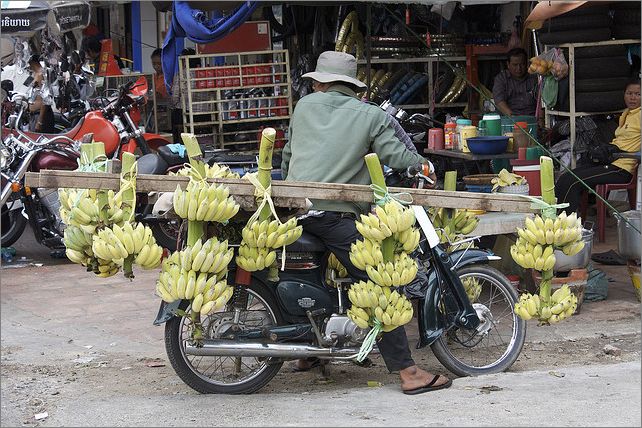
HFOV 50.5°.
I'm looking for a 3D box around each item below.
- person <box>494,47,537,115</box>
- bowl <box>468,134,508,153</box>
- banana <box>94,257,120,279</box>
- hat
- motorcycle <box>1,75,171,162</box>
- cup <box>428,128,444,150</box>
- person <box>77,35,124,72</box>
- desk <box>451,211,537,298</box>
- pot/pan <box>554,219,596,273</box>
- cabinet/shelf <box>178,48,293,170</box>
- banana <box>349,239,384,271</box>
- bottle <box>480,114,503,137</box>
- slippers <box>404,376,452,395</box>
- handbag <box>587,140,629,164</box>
[{"bbox_3d":[3.021,-2.084,10.633,0.663,1.018,0.615,2,12,12],"label":"person"},{"bbox_3d":[1.947,-0.811,7.946,0.481,0.207,0.284,0,12,2],"label":"bowl"},{"bbox_3d":[-1.600,0.396,5.078,0.162,0.127,0.074,-8,26,-27],"label":"banana"},{"bbox_3d":[0.114,-1.179,5.577,0.357,0.201,0.360,-1,5,8],"label":"hat"},{"bbox_3d":[-3.253,-1.206,9.448,1.879,1.298,1.303,0,-2,-13],"label":"motorcycle"},{"bbox_3d":[1.450,-0.957,8.638,0.236,0.280,0.244,0,2,0],"label":"cup"},{"bbox_3d":[-4.628,-3.254,13.748,0.386,0.752,1.501,-5,12,-18],"label":"person"},{"bbox_3d":[1.822,0.340,6.939,0.725,0.914,0.951,2,0,-15],"label":"desk"},{"bbox_3d":[2.532,0.336,6.785,0.406,0.334,0.484,-2,2,-2],"label":"pot/pan"},{"bbox_3d":[-1.187,-1.464,9.424,2.086,2.119,0.715,-2,6,-13],"label":"cabinet/shelf"},{"bbox_3d":[0.354,0.305,5.166,0.222,0.224,0.225,38,-54,-26],"label":"banana"},{"bbox_3d":[2.065,-1.096,8.322,0.292,0.314,0.198,1,6,5],"label":"bottle"},{"bbox_3d":[0.836,1.375,5.364,0.353,0.101,0.148,-8,2,-8],"label":"slippers"},{"bbox_3d":[3.585,-0.778,8.633,0.331,0.166,0.254,-2,-27,2],"label":"handbag"}]
